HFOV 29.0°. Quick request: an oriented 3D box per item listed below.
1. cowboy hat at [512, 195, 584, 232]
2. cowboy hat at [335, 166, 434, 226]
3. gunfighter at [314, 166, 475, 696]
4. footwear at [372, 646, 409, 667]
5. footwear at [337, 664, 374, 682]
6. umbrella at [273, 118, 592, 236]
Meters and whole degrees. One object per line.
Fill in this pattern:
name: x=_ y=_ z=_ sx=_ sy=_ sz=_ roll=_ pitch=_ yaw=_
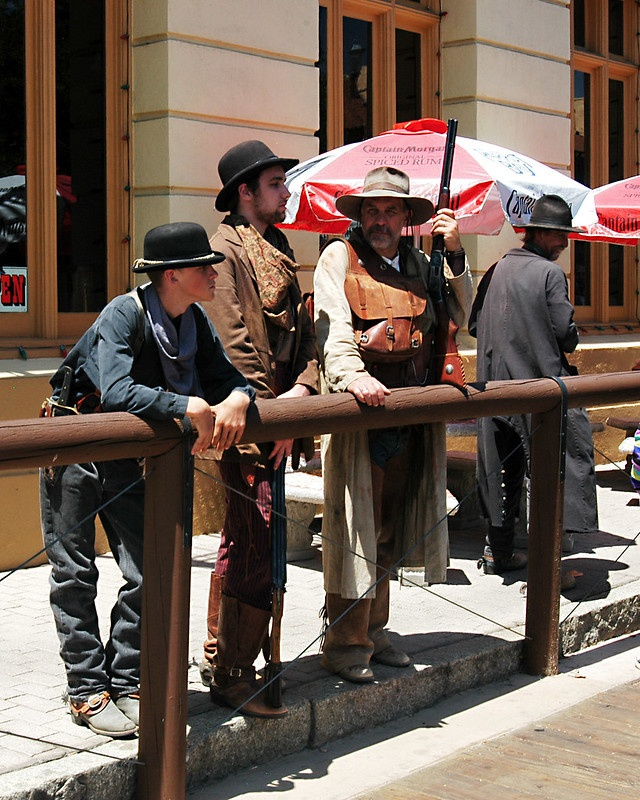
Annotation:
cowboy hat: x=1.192 y=-0.950 z=6.314 sx=0.276 sy=0.195 sz=0.283 roll=8 pitch=11 yaw=10
cowboy hat: x=0.269 y=-0.794 z=4.701 sx=0.291 sy=0.234 sz=0.305 roll=-4 pitch=19 yaw=-22
gunfighter: x=0.220 y=0.079 z=4.814 sx=0.686 sy=1.813 sz=0.702 roll=-1 pitch=1 yaw=-22
footwear: x=0.280 y=1.008 z=4.835 sx=0.154 sy=0.060 sz=0.057 roll=-4 pitch=2 yaw=30
footwear: x=0.138 y=1.018 z=4.601 sx=0.128 sy=0.052 sz=0.050 roll=-5 pitch=-3 yaw=28
umbrella: x=0.586 y=-1.247 z=7.043 sx=1.973 sy=0.665 sz=1.900 roll=2 pitch=4 yaw=25
